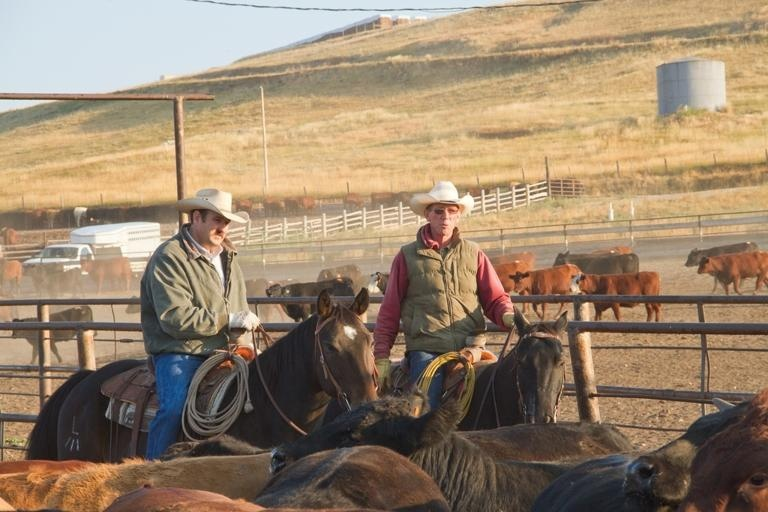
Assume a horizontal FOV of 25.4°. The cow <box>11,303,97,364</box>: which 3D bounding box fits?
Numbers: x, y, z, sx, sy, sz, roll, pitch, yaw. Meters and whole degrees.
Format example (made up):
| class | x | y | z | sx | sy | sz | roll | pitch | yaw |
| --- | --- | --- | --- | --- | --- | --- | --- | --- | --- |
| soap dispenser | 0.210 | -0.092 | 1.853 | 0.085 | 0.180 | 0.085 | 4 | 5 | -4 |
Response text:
| class | x | y | z | sx | sy | sz | roll | pitch | yaw |
| --- | --- | --- | --- | --- | --- | --- | --- | --- | --- |
| cow | -30.434 | 7.183 | 157.543 | 8.278 | 5.135 | 2.455 | -7 | -3 | -37 |
